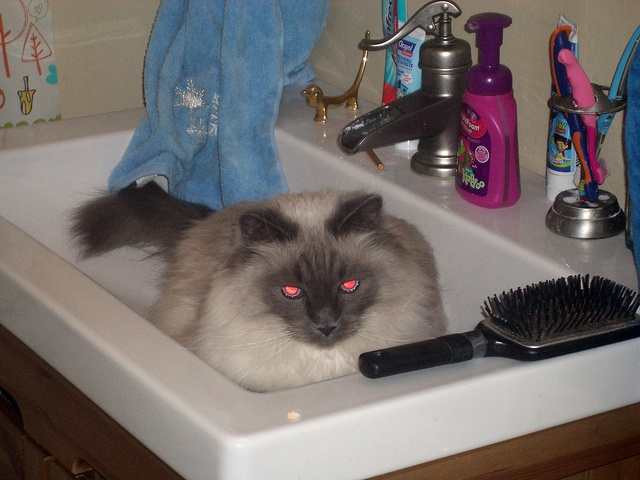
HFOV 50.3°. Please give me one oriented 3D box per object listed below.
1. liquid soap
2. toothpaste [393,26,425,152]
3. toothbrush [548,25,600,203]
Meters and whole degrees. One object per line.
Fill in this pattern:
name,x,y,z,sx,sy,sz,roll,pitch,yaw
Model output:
liquid soap,0.285,-0.221,1.185,0.088,0.315,0.134,-16,30,-29
toothpaste,0.169,-0.318,1.432,0.043,0.212,0.081,-20,37,-28
toothbrush,0.399,-0.189,1.074,0.030,0.324,0.070,-18,7,-23
